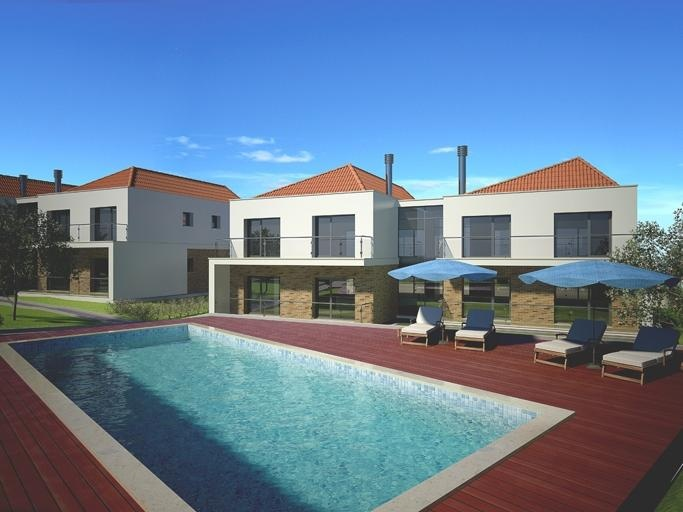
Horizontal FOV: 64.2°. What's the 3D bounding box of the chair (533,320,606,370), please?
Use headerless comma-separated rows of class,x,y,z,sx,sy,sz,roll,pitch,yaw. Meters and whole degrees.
chair,7.243,2.781,17.277,2.432,1.206,1.352,-2,-1,-36

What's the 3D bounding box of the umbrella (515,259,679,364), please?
umbrella,8.336,1.905,16.777,3.761,2.155,3.934,-4,4,-41

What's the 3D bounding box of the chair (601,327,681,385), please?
chair,8.705,2.902,16.017,2.519,1.273,1.333,0,-1,-38
